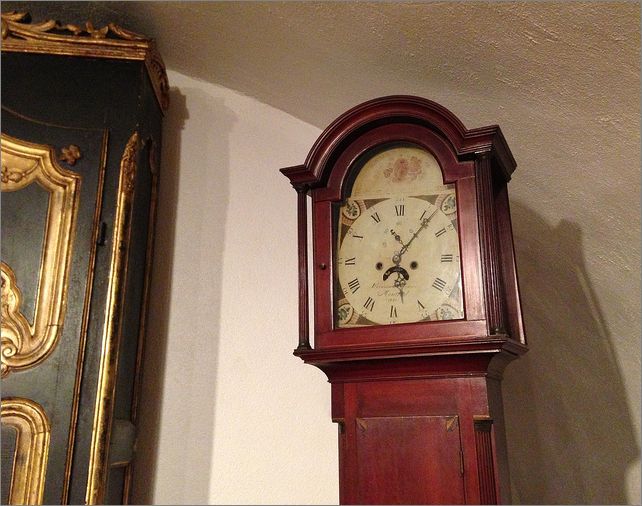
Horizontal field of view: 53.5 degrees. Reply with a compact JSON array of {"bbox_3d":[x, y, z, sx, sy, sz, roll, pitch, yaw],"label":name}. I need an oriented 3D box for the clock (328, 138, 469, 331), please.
[{"bbox_3d":[0.216,-0.050,1.825,0.422,0.057,0.662,-6,-60,0],"label":"clock"}]
